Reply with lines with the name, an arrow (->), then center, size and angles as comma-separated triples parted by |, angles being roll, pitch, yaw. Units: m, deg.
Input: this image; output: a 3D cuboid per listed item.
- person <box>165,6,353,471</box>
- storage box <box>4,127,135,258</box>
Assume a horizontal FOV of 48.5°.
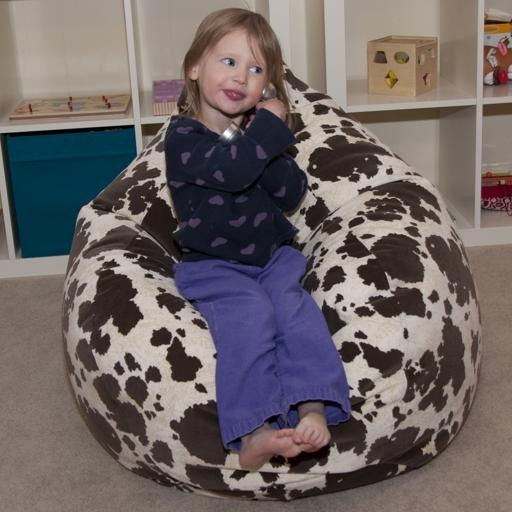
person -> -0.057, -0.174, 1.267 | 0.270, 0.474, 1.141 | 2, 53, -18
storage box -> -0.741, -0.276, 2.316 | 0.409, 0.469, 0.438 | -6, 20, -15
